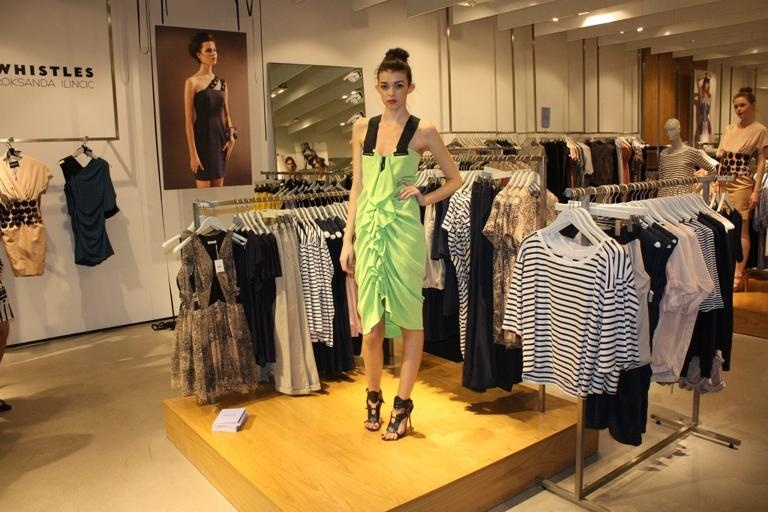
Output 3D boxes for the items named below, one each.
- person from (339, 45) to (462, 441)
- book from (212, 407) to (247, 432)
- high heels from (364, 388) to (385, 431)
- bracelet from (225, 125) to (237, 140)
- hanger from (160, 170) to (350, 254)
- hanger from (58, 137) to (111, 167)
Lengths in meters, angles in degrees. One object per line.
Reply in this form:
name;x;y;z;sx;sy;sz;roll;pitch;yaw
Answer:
person;0.059;-0.092;3.759;0.684;2.574;0.631;-14;19;-41
book;-1.129;1.202;3.908;0.205;0.082;0.211;1;16;7
high heels;-0.046;1.076;3.792;0.105;0.313;0.173;-1;-26;5
bracelet;-2.032;-1.646;7.157;0.120;0.172;0.162;5;14;25
hanger;-1.302;-0.433;5.208;1.934;0.725;0.573;-16;24;-40
hanger;-3.605;-1.238;6.367;0.373;0.213;0.018;-16;26;-27
